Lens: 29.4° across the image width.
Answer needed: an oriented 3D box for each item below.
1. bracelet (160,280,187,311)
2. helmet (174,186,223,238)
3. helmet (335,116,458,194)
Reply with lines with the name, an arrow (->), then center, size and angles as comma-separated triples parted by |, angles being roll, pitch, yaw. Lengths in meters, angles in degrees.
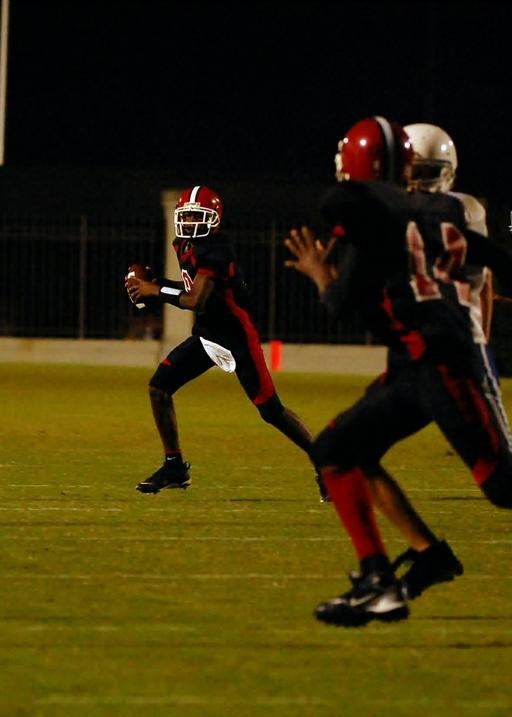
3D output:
bracelet -> -0.508, -0.375, 5.864 | 0.210, 0.074, 0.180 | 11, 37, -4
helmet -> -0.339, -0.941, 6.114 | 0.293, 0.260, 0.382 | 9, 15, 21
helmet -> 0.498, -0.710, 3.389 | 0.306, 0.294, 0.505 | -1, 2, 40
